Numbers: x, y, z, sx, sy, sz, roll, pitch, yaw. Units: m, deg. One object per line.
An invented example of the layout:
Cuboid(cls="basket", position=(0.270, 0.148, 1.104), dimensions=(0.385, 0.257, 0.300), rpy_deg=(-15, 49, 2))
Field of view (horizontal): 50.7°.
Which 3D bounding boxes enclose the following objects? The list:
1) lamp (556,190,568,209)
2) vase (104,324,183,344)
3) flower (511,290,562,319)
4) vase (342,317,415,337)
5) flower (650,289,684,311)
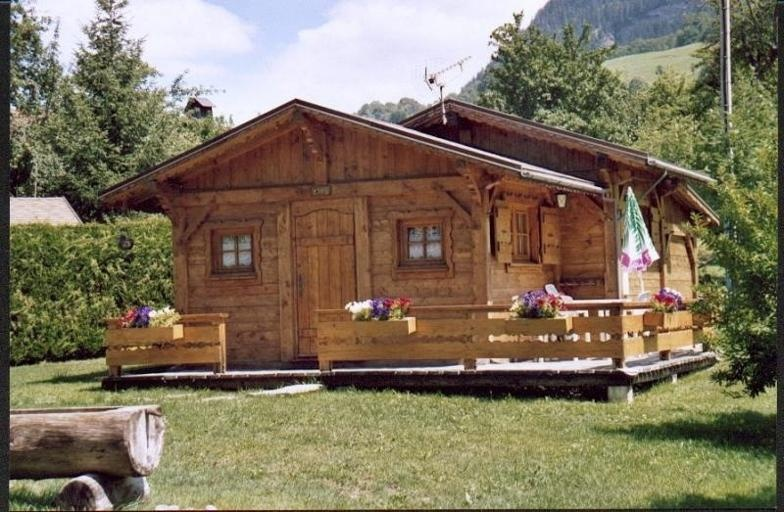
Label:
Cuboid(cls="lamp", position=(4.477, -1.496, 21.908), dimensions=(0.386, 0.465, 0.396), rpy_deg=(-3, -2, 8))
Cuboid(cls="vase", position=(-5.760, 1.869, 19.235), dimensions=(1.841, 0.423, 0.325), rpy_deg=(-4, -5, 11))
Cuboid(cls="flower", position=(3.089, 1.067, 17.552), dimensions=(0.712, 0.431, 0.657), rpy_deg=(-4, -6, 34))
Cuboid(cls="vase", position=(-0.253, 1.556, 17.976), dimensions=(1.549, 0.340, 0.396), rpy_deg=(-3, -5, 2))
Cuboid(cls="flower", position=(6.123, 1.030, 18.579), dimensions=(0.599, 0.391, 0.602), rpy_deg=(-2, -1, 42))
